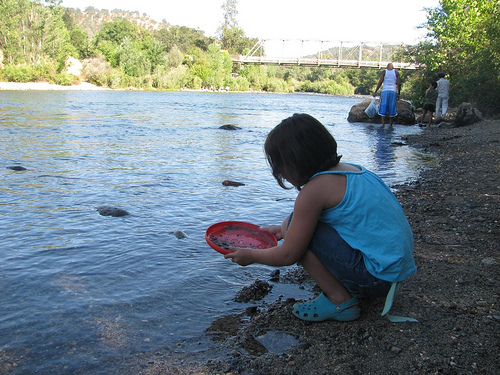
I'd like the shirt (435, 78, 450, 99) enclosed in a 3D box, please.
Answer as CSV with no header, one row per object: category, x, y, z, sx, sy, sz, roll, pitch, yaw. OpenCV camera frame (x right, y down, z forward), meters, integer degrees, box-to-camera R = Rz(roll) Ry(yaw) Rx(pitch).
shirt,8.469,-4.380,18.340,0.571,0.845,0.706,6,16,20

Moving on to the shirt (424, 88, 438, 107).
shirt,7.952,-3.924,18.236,0.418,0.717,0.612,6,16,19

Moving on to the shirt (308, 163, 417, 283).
shirt,0.858,0.284,3.500,1.031,0.855,0.857,-5,7,2

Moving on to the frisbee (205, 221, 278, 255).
frisbee,-0.080,0.478,4.095,0.679,0.180,0.448,0,14,-2

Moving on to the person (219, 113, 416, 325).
person,0.672,0.327,3.338,1.256,1.772,0.451,6,17,20
